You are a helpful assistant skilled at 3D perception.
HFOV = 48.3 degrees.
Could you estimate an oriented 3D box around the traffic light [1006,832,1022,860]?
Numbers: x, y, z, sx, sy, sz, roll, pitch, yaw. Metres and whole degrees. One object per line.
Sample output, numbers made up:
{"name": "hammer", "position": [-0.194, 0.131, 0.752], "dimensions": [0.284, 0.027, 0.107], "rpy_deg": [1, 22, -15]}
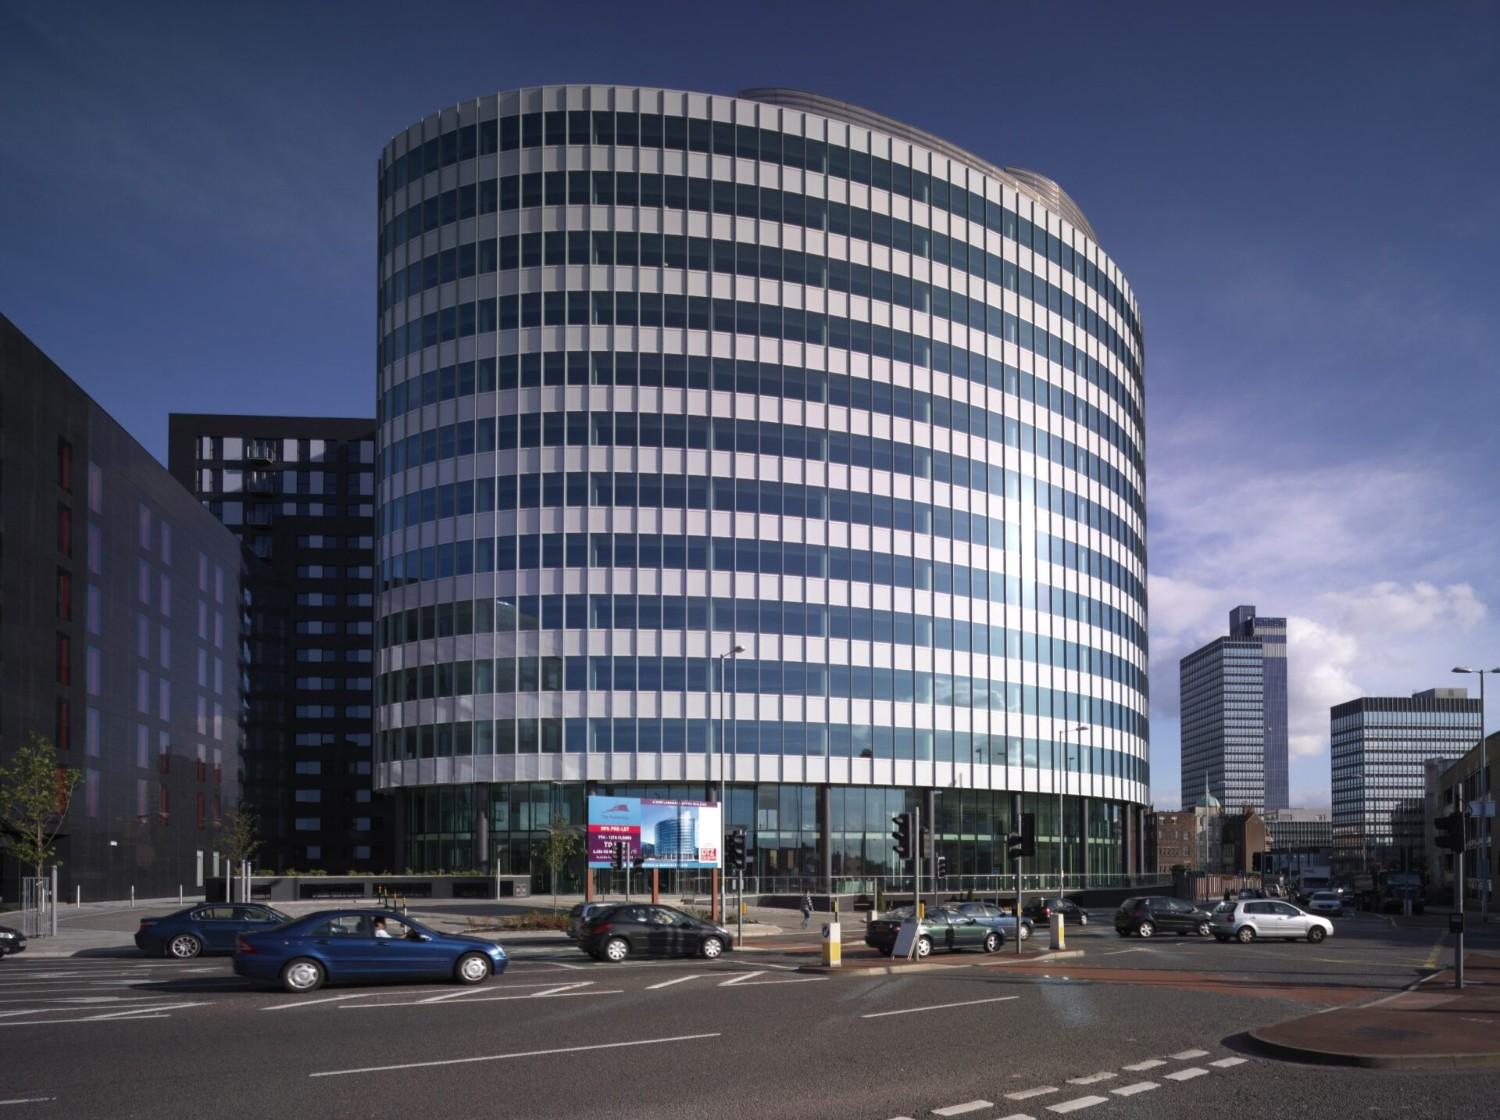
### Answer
{"name": "traffic light", "position": [9.419, 10.042, 58.952], "dimensions": [0.592, 1.238, 0.635], "rpy_deg": [3, -8, -12]}

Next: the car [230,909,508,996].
{"name": "car", "position": [-10.736, 10.907, 46.351], "dimensions": [6.708, 2.265, 0.813], "rpy_deg": [7, -2, -15]}

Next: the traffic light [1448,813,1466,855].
{"name": "traffic light", "position": [20.483, 7.862, 48.537], "dimensions": [0.393, 0.826, 0.912], "rpy_deg": [4, -3, 28]}

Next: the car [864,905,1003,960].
{"name": "car", "position": [6.729, 12.903, 58.120], "dimensions": [5.704, 1.465, 2.361], "rpy_deg": [9, -5, -40]}

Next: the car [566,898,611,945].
{"name": "car", "position": [-5.735, 12.080, 56.893], "dimensions": [1.320, 1.014, 2.258], "rpy_deg": [-2, -19, 2]}

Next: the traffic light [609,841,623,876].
{"name": "traffic light", "position": [-5.082, 11.266, 64.451], "dimensions": [0.494, 1.072, 0.314], "rpy_deg": [5, -2, 5]}

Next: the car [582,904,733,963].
{"name": "car", "position": [-3.251, 12.513, 55.887], "dimensions": [3.948, 1.502, 2.113], "rpy_deg": [1, -8, -15]}
